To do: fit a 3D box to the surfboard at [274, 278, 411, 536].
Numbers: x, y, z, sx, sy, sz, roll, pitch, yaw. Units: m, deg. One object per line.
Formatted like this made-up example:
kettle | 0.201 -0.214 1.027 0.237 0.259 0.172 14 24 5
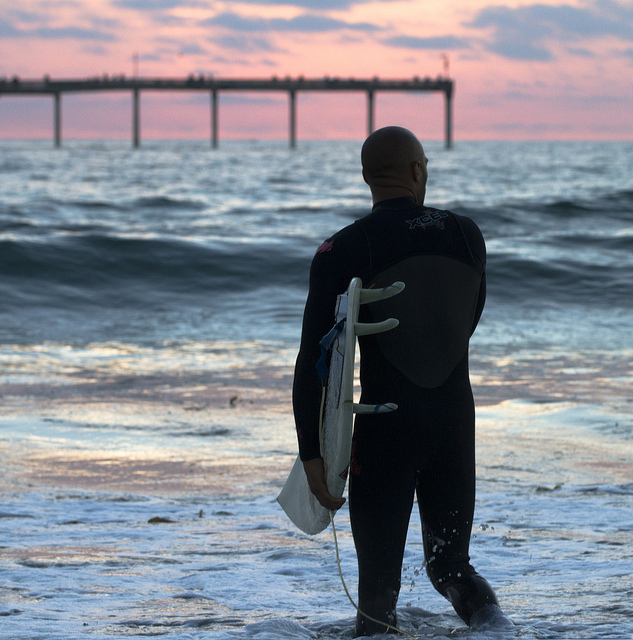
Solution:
surfboard | 0.202 0.693 14.846 1.003 2.070 0.578 0 10 0
